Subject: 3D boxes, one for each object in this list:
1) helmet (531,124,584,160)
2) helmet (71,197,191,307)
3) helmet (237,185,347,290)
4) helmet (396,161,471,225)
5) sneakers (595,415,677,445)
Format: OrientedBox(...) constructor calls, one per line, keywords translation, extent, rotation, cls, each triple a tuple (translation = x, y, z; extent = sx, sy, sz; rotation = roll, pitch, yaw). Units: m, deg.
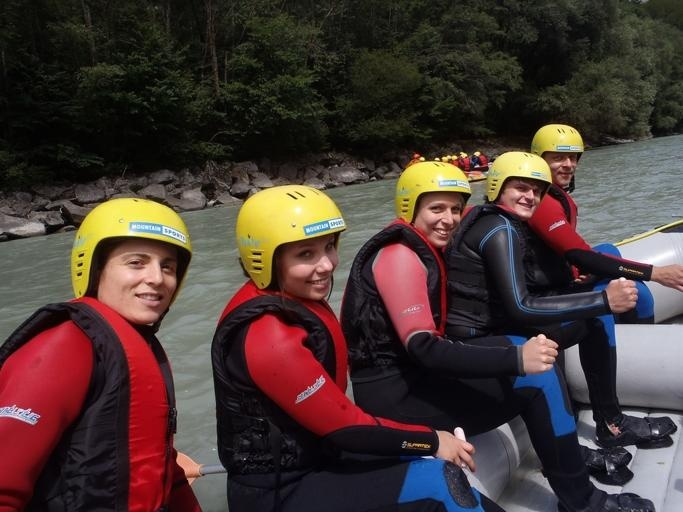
OrientedBox(translation=(1.777, -0.945, 4.927), extent=(0.306, 0.271, 0.370), rotation=(-4, 28, -20), cls="helmet")
OrientedBox(translation=(-0.873, -0.035, 2.692), extent=(0.541, 0.435, 0.423), rotation=(23, 5, 30), cls="helmet")
OrientedBox(translation=(-0.181, -0.103, 2.843), extent=(0.600, 0.413, 0.445), rotation=(2, 7, 27), cls="helmet")
OrientedBox(translation=(0.516, -0.418, 3.655), extent=(0.464, 0.316, 0.363), rotation=(24, 21, 36), cls="helmet")
OrientedBox(translation=(1.861, 1.092, 3.731), extent=(0.472, 0.172, 0.216), rotation=(-8, 10, -2), cls="sneakers")
